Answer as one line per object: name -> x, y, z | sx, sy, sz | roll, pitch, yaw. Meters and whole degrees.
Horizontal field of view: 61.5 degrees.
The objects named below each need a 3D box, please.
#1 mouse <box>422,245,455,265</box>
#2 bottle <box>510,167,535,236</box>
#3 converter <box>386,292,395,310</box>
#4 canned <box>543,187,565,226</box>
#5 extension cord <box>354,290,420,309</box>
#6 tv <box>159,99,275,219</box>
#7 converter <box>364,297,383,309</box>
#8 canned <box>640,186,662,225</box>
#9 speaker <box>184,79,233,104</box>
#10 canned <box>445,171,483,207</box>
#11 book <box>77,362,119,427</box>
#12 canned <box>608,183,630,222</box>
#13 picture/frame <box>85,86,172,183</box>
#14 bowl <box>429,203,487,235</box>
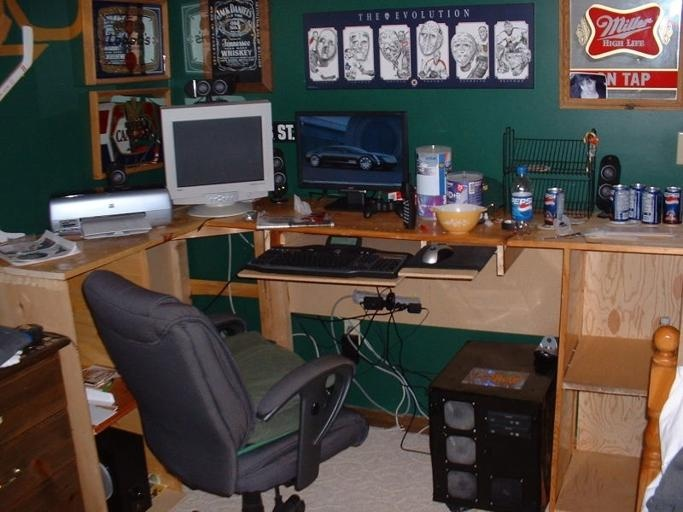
mouse -> 0.403, -0.005, 2.435 | 0.089, 0.058, 0.154 | 8, 17, 32
bottle -> 0.790, -0.265, 2.524 | 0.094, 0.253, 0.375 | 3, 15, 16
converter -> 0.253, 0.240, 2.991 | 0.046, 0.082, 0.020 | 2, 8, 13
canned -> 0.890, -0.208, 2.426 | 0.076, 0.152, 0.098 | 3, 15, 17
extension cord -> 0.250, 0.230, 2.998 | 0.286, 0.101, 0.065 | 3, 19, 9
tv -> -0.649, -0.489, 2.904 | 0.560, 0.515, 0.312 | -10, 23, -29
converter -> 0.164, 0.253, 3.012 | 0.092, 0.063, 0.022 | 2, 18, 19
canned -> 1.279, -0.207, 2.395 | 0.082, 0.149, 0.072 | 6, 16, 28
speaker -> -0.678, -0.853, 3.007 | 0.232, 0.114, 0.174 | -1, 19, -5
canned -> 0.544, -0.305, 2.574 | 0.156, 0.141, 0.151 | -2, 13, 4
book -> -1.030, 0.599, 2.451 | 0.174, 0.059, 0.255 | 3, 36, -1
canned -> 1.173, -0.221, 2.448 | 0.062, 0.147, 0.066 | -13, 18, -38
picture/frame -> -1.097, -0.646, 3.045 | 0.506, 0.370, 0.059 | 3, 9, 27
bowl -> 0.497, -0.156, 2.445 | 0.206, 0.108, 0.168 | 2, 14, 13
